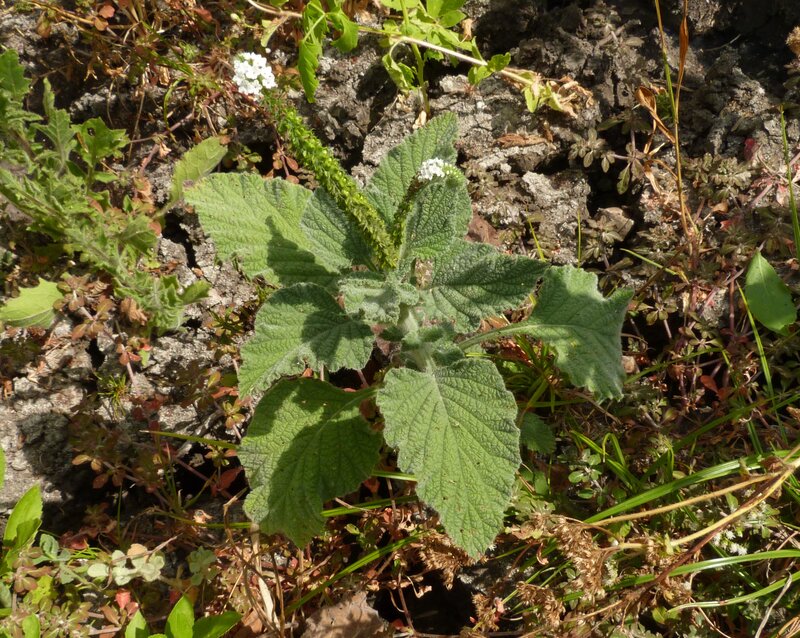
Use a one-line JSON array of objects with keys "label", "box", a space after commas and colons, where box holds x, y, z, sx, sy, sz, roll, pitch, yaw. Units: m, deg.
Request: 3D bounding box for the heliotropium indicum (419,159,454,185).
[{"label": "heliotropium indicum", "box": [0.139, -0.614, 3.149, 0.105, 0.035, 0.109, -20, 58, -15]}]
